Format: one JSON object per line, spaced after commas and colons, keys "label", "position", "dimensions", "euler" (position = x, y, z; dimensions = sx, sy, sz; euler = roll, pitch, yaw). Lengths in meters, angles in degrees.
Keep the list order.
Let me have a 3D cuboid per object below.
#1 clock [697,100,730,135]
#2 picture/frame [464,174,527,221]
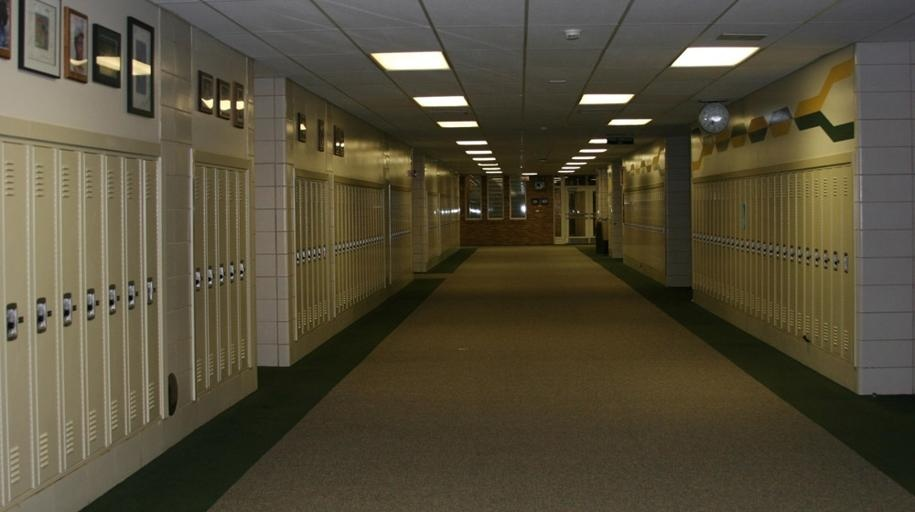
{"label": "clock", "position": [4.688, -2.542, 10.164], "dimensions": [0.477, 0.551, 0.370], "euler": [-3, 10, -11]}
{"label": "picture/frame", "position": [2.117, -3.208, 29.795], "dimensions": [2.686, 1.669, 0.168], "euler": [1, 7, 3]}
